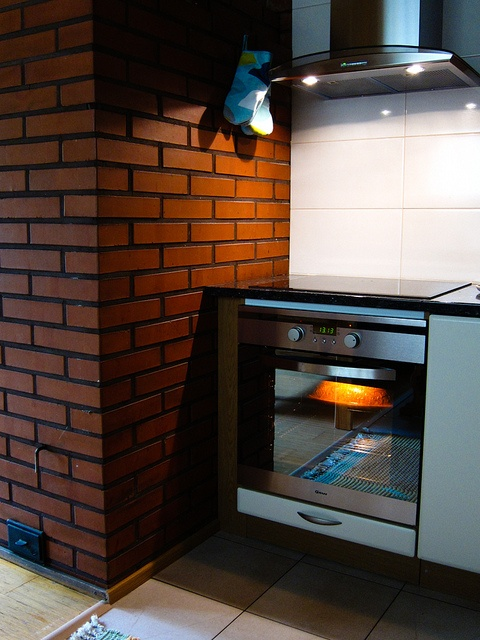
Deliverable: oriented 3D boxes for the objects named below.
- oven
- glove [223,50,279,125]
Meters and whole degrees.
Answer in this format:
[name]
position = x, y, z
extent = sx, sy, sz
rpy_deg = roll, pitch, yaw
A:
[oven]
position = 0.234, 0.258, 1.950
extent = 0.707, 0.967, 0.678
rpy_deg = 4, 8, 34
[glove]
position = 0.022, -0.737, 1.747
extent = 0.149, 0.230, 0.077
rpy_deg = 0, 4, -2
